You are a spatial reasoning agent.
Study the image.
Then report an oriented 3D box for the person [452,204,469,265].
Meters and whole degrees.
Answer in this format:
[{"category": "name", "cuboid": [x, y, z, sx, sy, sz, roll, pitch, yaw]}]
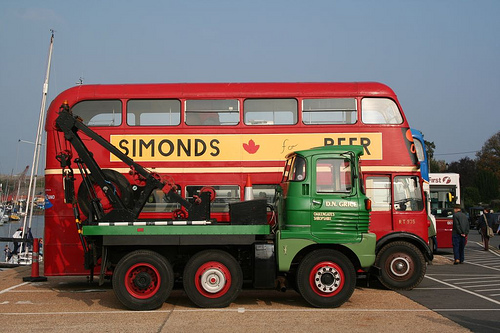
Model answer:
[{"category": "person", "cuboid": [9.175, 3.001, 23.267, 0.611, 2.683, 1.185, 0, -1, 21]}]
